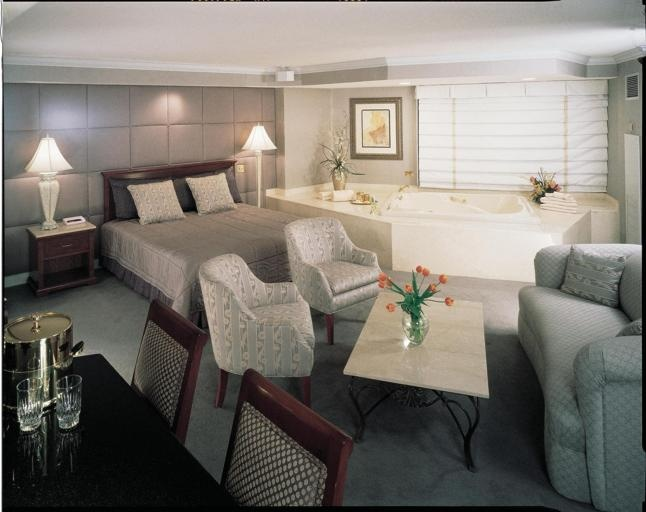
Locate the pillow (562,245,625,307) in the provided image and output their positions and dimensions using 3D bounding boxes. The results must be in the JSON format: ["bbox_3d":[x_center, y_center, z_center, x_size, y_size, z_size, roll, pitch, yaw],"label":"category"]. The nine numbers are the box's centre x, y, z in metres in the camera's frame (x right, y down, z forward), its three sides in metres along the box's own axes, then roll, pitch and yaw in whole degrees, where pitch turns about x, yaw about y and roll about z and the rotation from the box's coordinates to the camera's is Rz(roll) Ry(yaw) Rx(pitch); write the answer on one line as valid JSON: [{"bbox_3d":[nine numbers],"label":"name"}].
[{"bbox_3d":[2.198,0.147,3.647,0.155,0.438,0.400,-22,30,-37],"label":"pillow"}]

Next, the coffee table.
[{"bbox_3d":[0.642,0.673,2.980,0.799,0.524,1.279,1,14,10],"label":"coffee table"}]

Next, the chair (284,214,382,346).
[{"bbox_3d":[0.050,0.090,4.550,0.996,1.360,1.086,-12,18,-39],"label":"chair"}]

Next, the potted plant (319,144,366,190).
[{"bbox_3d":[0.289,-1.523,7.629,0.565,0.578,0.577,-2,-9,-39],"label":"potted plant"}]

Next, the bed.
[{"bbox_3d":[-1.527,-0.234,5.159,2.028,1.205,1.987,-16,27,-40],"label":"bed"}]

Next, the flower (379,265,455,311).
[{"bbox_3d":[0.659,0.267,3.190,0.472,0.245,0.448,-3,15,44],"label":"flower"}]

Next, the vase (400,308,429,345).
[{"bbox_3d":[0.608,0.488,3.122,0.183,0.236,0.207,-1,5,-6],"label":"vase"}]

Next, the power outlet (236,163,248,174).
[{"bbox_3d":[-1.277,-1.363,6.931,0.022,0.120,0.165,6,9,35],"label":"power outlet"}]

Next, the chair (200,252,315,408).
[{"bbox_3d":[-0.466,0.493,3.438,0.940,1.079,1.122,-1,15,-7],"label":"chair"}]

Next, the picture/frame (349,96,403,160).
[{"bbox_3d":[0.945,-2.230,7.666,0.987,1.155,0.079,4,13,24],"label":"picture/frame"}]
